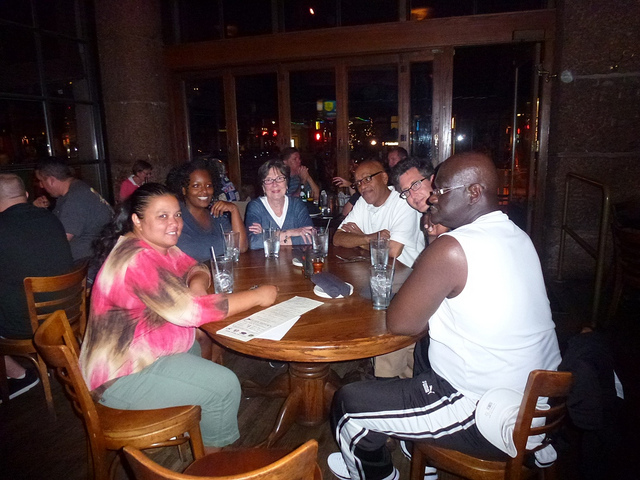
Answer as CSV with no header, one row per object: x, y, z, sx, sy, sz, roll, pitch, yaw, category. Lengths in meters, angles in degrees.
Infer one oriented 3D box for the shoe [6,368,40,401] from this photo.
-2.254,1.100,3.350,0.091,0.094,0.244,0,1,4,shoe

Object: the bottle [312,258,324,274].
-0.013,0.161,2.711,0.087,0.084,0.073,1,2,-7,bottle

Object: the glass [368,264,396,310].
0.328,0.251,2.346,0.145,0.224,0.142,0,8,-8,glass

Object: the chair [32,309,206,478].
-0.981,0.757,2.691,0.898,1.165,0.816,-4,12,-15,chair

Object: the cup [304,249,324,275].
-0.054,0.126,2.788,0.152,0.149,0.088,-1,3,-29,cup

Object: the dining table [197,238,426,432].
-0.039,0.677,2.480,0.963,0.627,0.964,9,11,14,dining table

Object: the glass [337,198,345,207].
0.261,-0.457,5.271,0.092,0.103,0.091,4,22,11,glass

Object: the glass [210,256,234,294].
-0.568,0.220,2.561,0.144,0.220,0.140,-7,5,-5,glass
